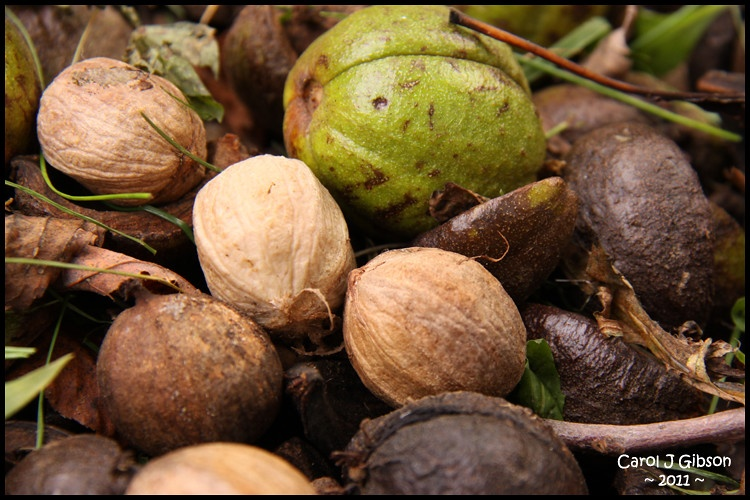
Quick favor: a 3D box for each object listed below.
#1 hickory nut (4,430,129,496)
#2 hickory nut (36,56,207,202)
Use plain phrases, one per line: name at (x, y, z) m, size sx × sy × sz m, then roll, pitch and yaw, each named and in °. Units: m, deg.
hickory nut at (-0.867, 0.593, 1.908) m, size 0.303 × 0.103 × 0.179 m, roll 11°, pitch 48°, yaw -2°
hickory nut at (-0.807, -0.369, 2.209) m, size 0.514 × 0.310 × 0.353 m, roll 12°, pitch 48°, yaw -1°
